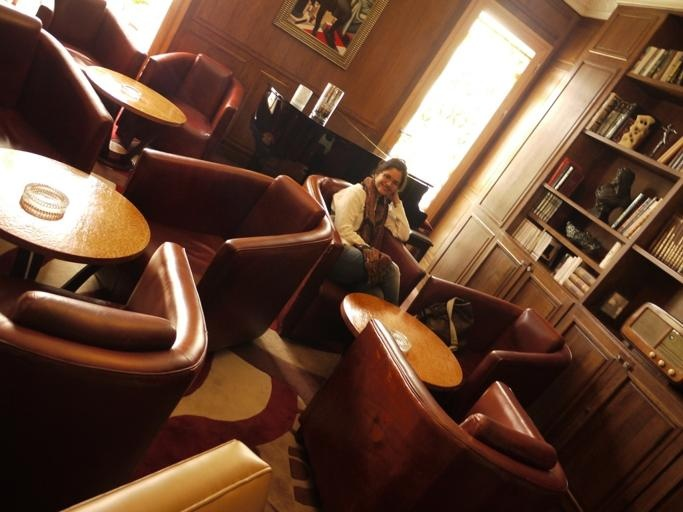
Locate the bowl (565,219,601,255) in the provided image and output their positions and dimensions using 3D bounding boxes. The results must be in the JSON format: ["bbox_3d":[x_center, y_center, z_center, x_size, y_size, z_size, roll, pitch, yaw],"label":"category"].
[{"bbox_3d":[1.937,-0.153,4.043,0.102,0.171,0.293,25,21,-43],"label":"bowl"}]

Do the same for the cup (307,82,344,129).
[{"bbox_3d":[-0.172,-1.540,4.858,0.280,0.388,0.301,23,29,-14],"label":"cup"}]
